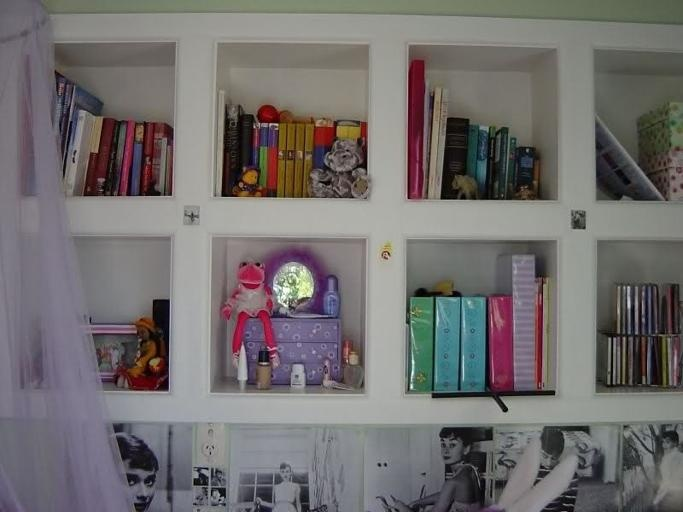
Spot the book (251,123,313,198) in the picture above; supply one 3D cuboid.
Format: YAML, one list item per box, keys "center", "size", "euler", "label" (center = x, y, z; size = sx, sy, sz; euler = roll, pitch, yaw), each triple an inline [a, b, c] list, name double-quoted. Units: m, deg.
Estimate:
- center: [-0.213, -0.358, 2.602]
  size: [0.214, 0.355, 0.258]
  euler: [1, 0, 1]
  label: "book"

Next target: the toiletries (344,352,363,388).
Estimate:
- center: [0.038, 0.398, 2.400]
  size: [0.078, 0.128, 0.047]
  euler: [0, -3, -1]
  label: "toiletries"

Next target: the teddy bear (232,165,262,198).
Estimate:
- center: [-0.337, -0.261, 2.397]
  size: [0.092, 0.094, 0.055]
  euler: [7, -17, -39]
  label: "teddy bear"

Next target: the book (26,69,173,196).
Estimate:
- center: [-0.802, -0.372, 2.403]
  size: [0.360, 0.570, 0.544]
  euler: [0, -3, -5]
  label: "book"

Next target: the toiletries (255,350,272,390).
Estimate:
- center: [-0.278, 0.398, 2.372]
  size: [0.065, 0.138, 0.067]
  euler: [-9, -5, 32]
  label: "toiletries"

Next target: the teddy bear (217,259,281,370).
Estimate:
- center: [-0.323, 0.189, 2.381]
  size: [0.190, 0.389, 0.137]
  euler: [-5, -41, -4]
  label: "teddy bear"

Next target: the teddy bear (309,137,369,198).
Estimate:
- center: [0.000, -0.293, 2.368]
  size: [0.222, 0.225, 0.113]
  euler: [6, 2, 21]
  label: "teddy bear"

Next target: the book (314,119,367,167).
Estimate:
- center: [-0.008, -0.394, 2.410]
  size: [0.141, 0.159, 0.075]
  euler: [-1, -14, 3]
  label: "book"

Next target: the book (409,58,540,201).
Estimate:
- center: [0.468, -0.447, 2.444]
  size: [0.432, 0.472, 0.155]
  euler: [2, -4, -9]
  label: "book"

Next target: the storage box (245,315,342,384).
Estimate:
- center: [-0.192, 0.358, 2.533]
  size: [0.197, 0.266, 0.359]
  euler: [13, -16, -41]
  label: "storage box"
